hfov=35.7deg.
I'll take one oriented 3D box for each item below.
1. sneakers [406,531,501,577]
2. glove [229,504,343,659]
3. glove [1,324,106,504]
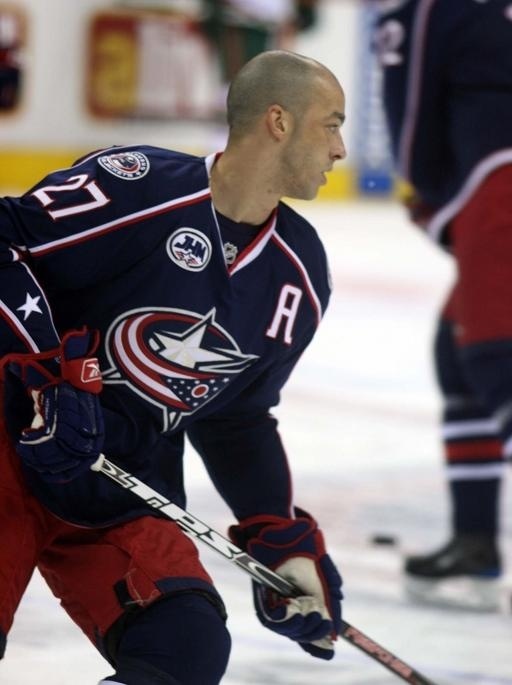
[{"bbox_3d":[0.459,0.533,1.982,0.272,0.088,0.097,1,70,3],"label":"sneakers"},{"bbox_3d":[0.036,0.375,1.249,0.242,0.151,0.099,53,25,-5],"label":"glove"},{"bbox_3d":[-0.248,0.088,1.033,0.103,0.149,0.213,1,6,-33],"label":"glove"}]
